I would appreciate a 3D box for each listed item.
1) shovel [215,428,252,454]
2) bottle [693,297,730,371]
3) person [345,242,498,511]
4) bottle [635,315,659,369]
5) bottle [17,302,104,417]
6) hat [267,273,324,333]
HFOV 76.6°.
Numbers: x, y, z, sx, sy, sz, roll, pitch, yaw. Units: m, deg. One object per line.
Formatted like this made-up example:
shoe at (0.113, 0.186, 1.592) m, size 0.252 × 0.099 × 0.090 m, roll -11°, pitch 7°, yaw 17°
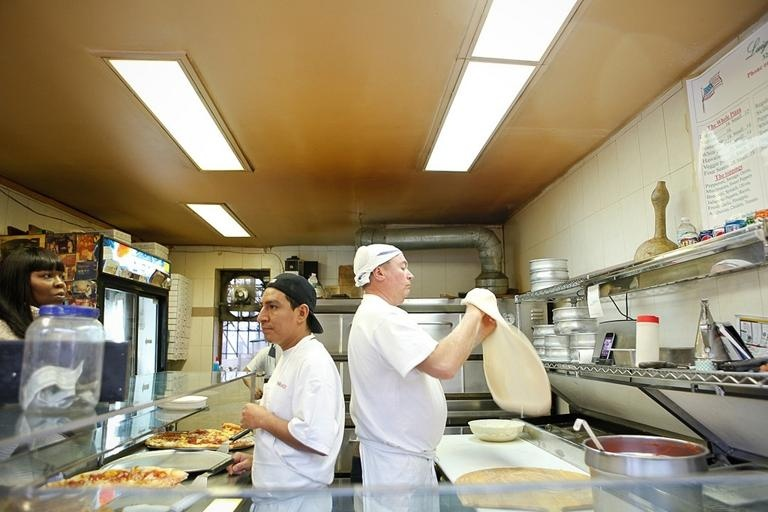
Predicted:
shovel at (-0.848, 1.046, 2.761) m, size 0.070 × 0.031 × 0.233 m, roll 23°, pitch 25°, yaw 15°
bottle at (1.416, 0.344, 2.129) m, size 0.124 × 0.308 × 0.206 m, roll -9°, pitch -16°, yaw 32°
person at (0.155, 0.519, 2.442) m, size 0.508 × 1.233 × 0.740 m, roll 12°, pitch -18°, yaw -42°
bottle at (1.367, 0.441, 2.543) m, size 0.129 × 0.257 × 0.210 m, roll -7°, pitch -15°, yaw 26°
bottle at (-0.985, 0.317, 1.514) m, size 0.224 × 0.318 × 0.196 m, roll 4°, pitch -6°, yaw -38°
hat at (-0.495, 0.208, 2.666) m, size 0.229 × 0.231 × 0.311 m, roll 11°, pitch -24°, yaw 37°
